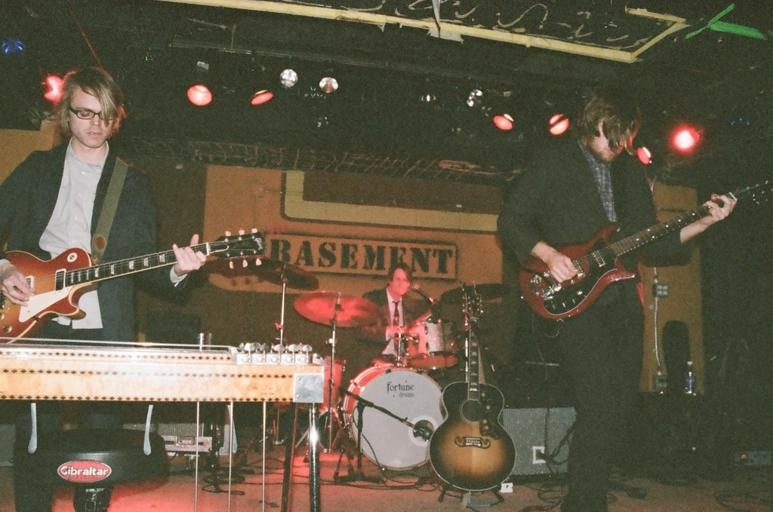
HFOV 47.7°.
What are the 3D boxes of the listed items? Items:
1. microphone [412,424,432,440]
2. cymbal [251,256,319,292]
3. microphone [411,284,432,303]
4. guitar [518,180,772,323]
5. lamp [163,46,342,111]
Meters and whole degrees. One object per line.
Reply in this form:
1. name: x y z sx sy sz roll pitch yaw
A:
1. microphone: 0.323 1.581 7.854 0.172 0.140 0.109 14 32 5
2. cymbal: -0.989 0.179 8.375 0.423 0.412 0.104 9 56 -2
3. microphone: 0.371 0.427 9.593 0.363 0.081 0.140 24 6 -40
4. guitar: 1.638 0.067 6.523 1.152 0.789 0.463 -2 34 -20
5. lamp: -1.301 -1.659 8.043 1.243 0.578 0.133 2 1 -9
